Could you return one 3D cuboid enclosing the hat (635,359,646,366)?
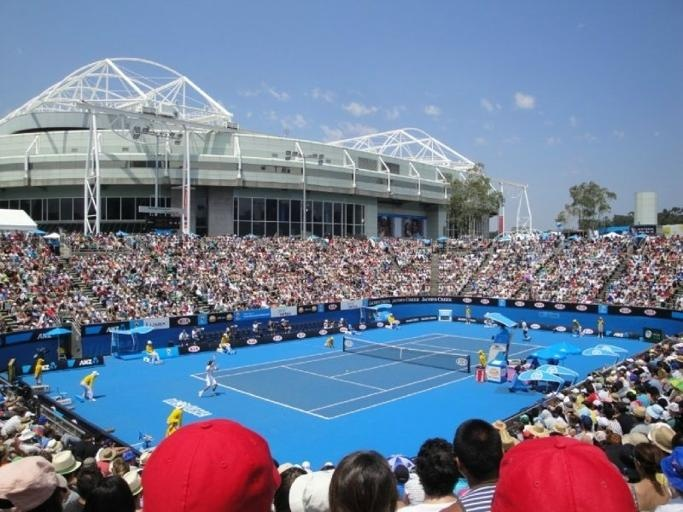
[{"bbox_3d":[13.040,4.647,26.007,0.362,0.104,0.372,-1,2,42],"label":"hat"}]
